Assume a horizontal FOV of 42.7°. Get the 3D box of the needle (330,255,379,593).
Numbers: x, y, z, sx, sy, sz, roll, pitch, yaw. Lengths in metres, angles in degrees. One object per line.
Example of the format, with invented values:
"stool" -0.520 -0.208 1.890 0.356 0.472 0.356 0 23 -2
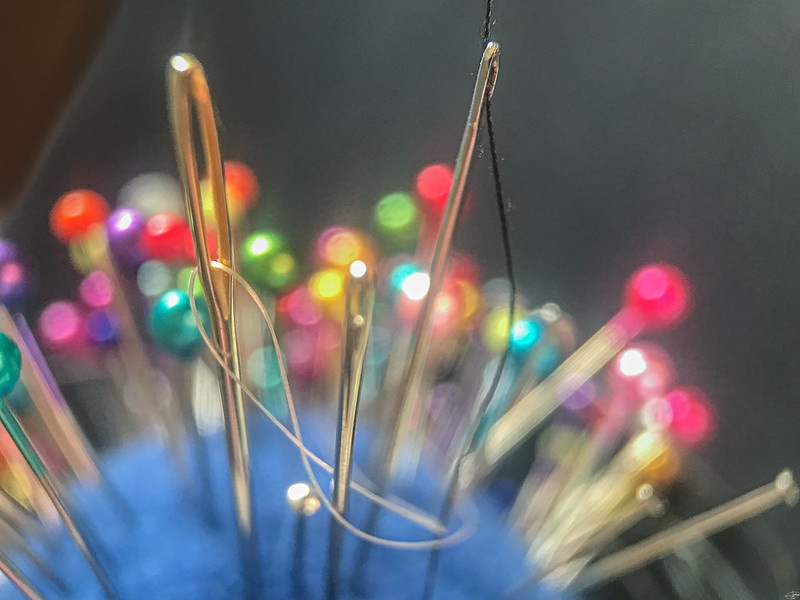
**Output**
"needle" -0.056 0.135 1.047 0.027 0.365 0.052 6 17 -2
